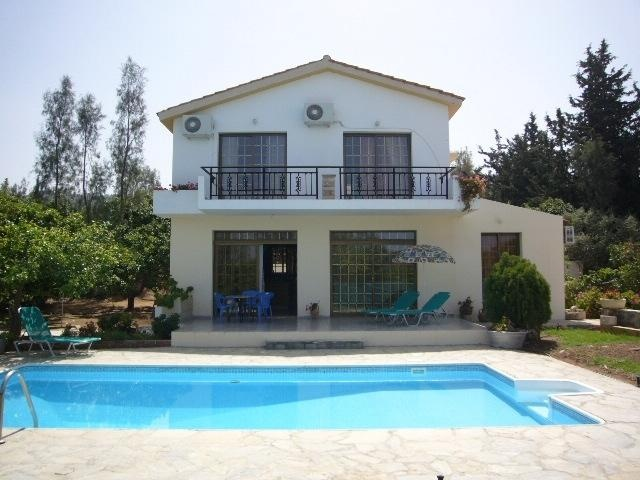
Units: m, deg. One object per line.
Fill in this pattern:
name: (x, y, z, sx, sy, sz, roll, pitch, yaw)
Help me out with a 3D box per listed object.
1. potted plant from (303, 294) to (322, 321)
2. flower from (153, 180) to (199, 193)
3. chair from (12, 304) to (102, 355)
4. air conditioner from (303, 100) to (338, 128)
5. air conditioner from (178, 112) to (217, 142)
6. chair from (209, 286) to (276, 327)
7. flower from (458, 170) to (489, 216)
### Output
potted plant: (-0.268, 2.445, 17.949, 0.509, 0.648, 0.661, 0, -3, -2)
flower: (-4.829, -1.757, 17.438, 1.424, 0.382, 0.654, 0, -3, -8)
chair: (-7.477, 2.668, 14.751, 1.924, 1.420, 1.220, 0, -6, 4)
air conditioner: (-0.029, -4.151, 18.172, 1.133, 0.919, 0.714, 0, -3, 0)
air conditioner: (-4.233, -3.665, 18.085, 1.190, 0.966, 0.708, 0, -7, -2)
chair: (-2.565, 2.250, 17.392, 1.918, 1.011, 2.093, 0, -3, -12)
flower: (5.053, -1.588, 17.229, 0.842, 1.241, 0.979, -1, -3, 18)
